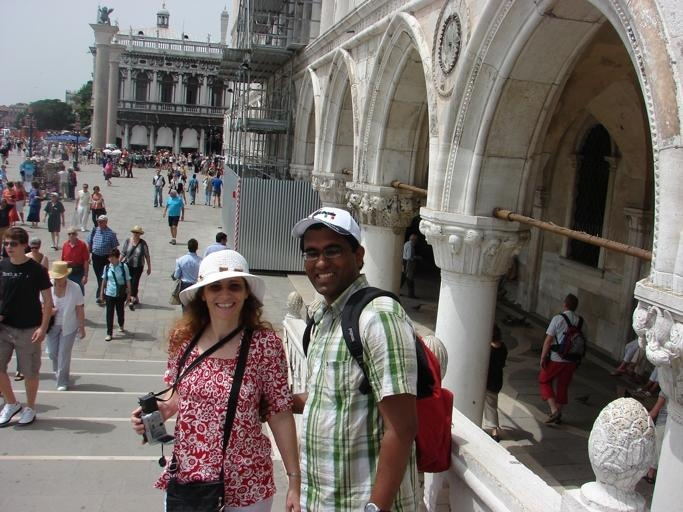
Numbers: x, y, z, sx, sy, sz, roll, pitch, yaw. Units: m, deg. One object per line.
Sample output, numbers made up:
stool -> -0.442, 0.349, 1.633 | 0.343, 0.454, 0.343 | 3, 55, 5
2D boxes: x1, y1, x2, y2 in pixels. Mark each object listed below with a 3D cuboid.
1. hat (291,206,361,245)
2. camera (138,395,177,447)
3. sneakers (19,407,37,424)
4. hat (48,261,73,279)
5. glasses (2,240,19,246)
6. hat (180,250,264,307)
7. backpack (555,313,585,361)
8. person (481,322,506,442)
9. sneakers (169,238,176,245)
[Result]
hat -> -0.024, -0.156, 2.327 | 0.170, 0.134, 0.247 | -5, -16, 34
camera -> -0.940, 0.836, 2.608 | 0.188, 0.228, 0.122 | -6, 2, 31
sneakers -> -3.689, 1.874, 6.010 | 0.107, 0.133, 0.285 | 1, -6, -16
hat -> -3.814, 0.188, 6.946 | 0.271, 0.213, 0.358 | -3, 15, -11
glasses -> -3.778, -0.144, 5.817 | 0.194, 0.080, 0.081 | 6, 8, 23
hat -> -0.652, 0.144, 2.811 | 0.311, 0.200, 0.351 | 2, -26, -18
backpack -> 3.293, 1.189, 7.234 | 0.481, 0.732, 0.228 | -2, 7, -23
person -> 2.107, 1.733, 6.988 | 0.241, 1.586, 0.726 | 4, 7, 18
sneakers -> -5.912, -0.513, 17.828 | 0.211, 0.219, 0.447 | -1, 9, -21
